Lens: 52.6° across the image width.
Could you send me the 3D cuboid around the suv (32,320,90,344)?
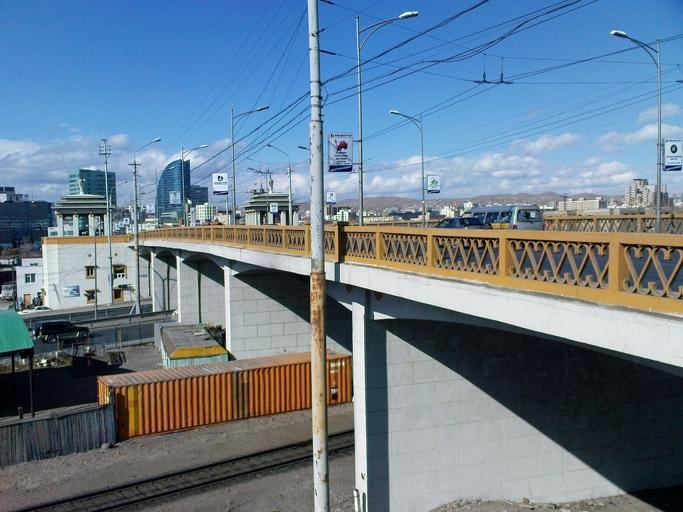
[{"bbox_3d":[-20.301,6.027,50.168,3.518,1.555,1.951,-4,8,-29],"label":"suv"}]
